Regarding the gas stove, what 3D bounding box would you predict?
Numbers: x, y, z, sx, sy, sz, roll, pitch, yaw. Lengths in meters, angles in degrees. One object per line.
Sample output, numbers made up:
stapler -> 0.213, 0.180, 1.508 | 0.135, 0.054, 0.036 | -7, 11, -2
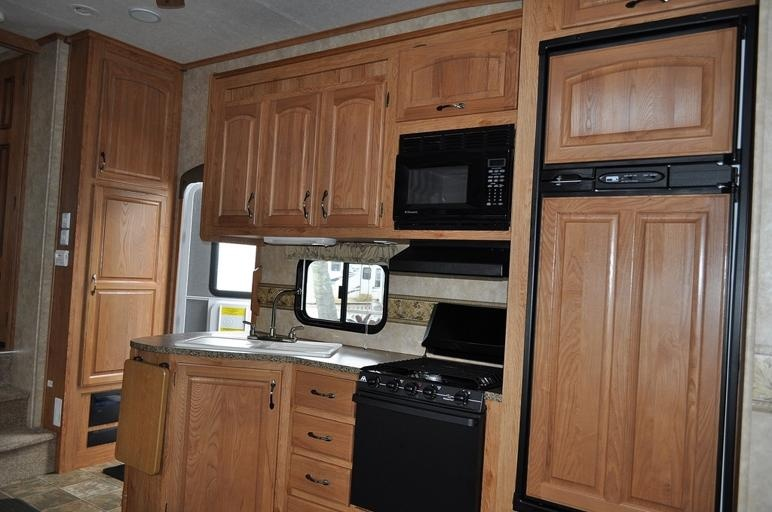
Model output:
gas stove -> 0.302, 0.745, 3.525 | 0.946, 0.090, 0.897 | 4, -9, 9

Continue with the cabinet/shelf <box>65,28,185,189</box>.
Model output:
cabinet/shelf -> -2.148, -1.173, 4.662 | 0.879, 1.242, 0.237 | 7, -3, -43

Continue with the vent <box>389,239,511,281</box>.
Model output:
vent -> 0.412, 0.011, 3.430 | 0.733, 0.163, 0.272 | 3, -2, 27

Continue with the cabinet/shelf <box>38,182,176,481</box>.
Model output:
cabinet/shelf -> -2.263, 0.531, 4.645 | 0.812, 2.392, 0.222 | 7, -3, -42

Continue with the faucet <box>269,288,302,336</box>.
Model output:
faucet -> -0.756, 0.427, 4.160 | 0.195, 0.317, 0.467 | 5, -2, -10
